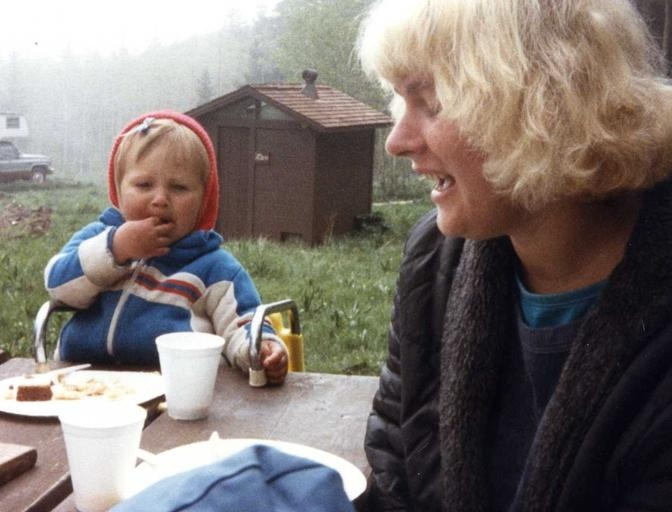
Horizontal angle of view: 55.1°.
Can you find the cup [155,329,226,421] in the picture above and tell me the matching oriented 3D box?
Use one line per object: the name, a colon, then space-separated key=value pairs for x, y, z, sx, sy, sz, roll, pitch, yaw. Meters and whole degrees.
cup: x=-0.307 y=0.246 z=1.427 sx=0.156 sy=0.177 sz=0.160 roll=4 pitch=9 yaw=-1
